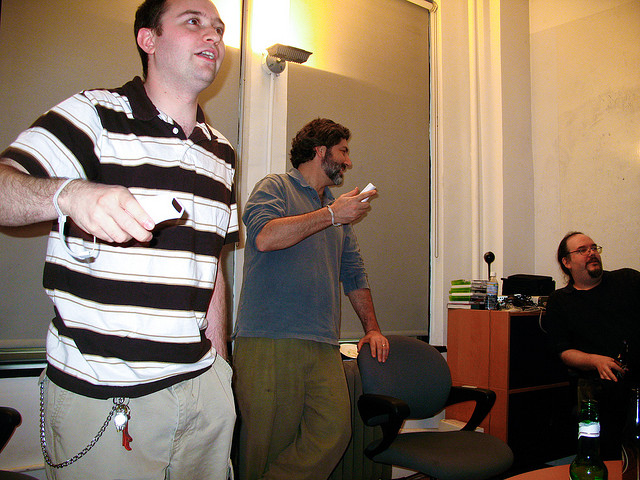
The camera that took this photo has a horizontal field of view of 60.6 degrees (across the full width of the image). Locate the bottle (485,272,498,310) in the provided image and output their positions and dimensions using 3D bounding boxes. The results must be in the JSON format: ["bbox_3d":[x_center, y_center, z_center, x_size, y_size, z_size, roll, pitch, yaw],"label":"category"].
[{"bbox_3d":[1.269,0.380,4.039,0.087,0.287,0.086,1,-1,0],"label":"bottle"}]

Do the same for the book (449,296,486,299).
[{"bbox_3d":[1.105,0.428,4.126,0.031,0.024,0.299,0,-3,-40],"label":"book"}]

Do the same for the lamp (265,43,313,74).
[{"bbox_3d":[-0.240,-1.196,3.628,0.240,0.114,0.275,-1,-3,-35],"label":"lamp"}]

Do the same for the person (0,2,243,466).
[{"bbox_3d":[-0.599,-0.047,1.884,0.489,1.708,0.825,-3,-2,40],"label":"person"}]

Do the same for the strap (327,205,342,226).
[{"bbox_3d":[0.061,-0.128,2.856,0.022,0.085,0.088,-22,-1,4],"label":"strap"}]

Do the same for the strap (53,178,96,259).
[{"bbox_3d":[-0.758,-0.076,1.711,0.149,0.245,0.057,-2,8,1],"label":"strap"}]

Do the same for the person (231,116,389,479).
[{"bbox_3d":[-0.062,0.231,2.933,0.567,1.918,0.812,-3,-2,39],"label":"person"}]
